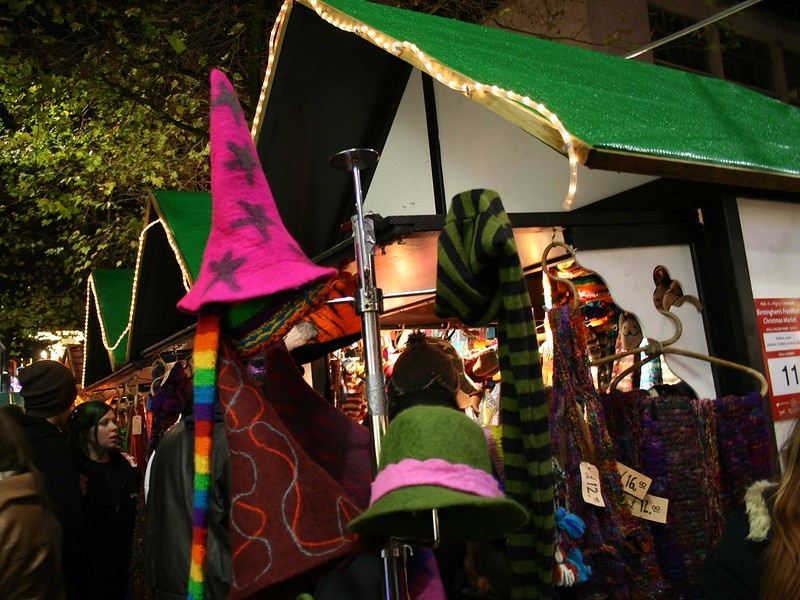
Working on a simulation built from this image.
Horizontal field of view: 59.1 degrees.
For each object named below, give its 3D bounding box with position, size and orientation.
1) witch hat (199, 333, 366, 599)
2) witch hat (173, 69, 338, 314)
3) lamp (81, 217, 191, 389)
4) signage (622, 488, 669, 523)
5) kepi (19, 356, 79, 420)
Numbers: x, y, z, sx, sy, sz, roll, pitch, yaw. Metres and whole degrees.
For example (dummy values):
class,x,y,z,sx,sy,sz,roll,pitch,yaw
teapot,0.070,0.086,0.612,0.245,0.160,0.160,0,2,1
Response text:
class,x,y,z,sx,sy,sz,roll,pitch,yaw
witch hat,-0.395,0.607,2.812,0.555,0.913,0.757,-2,-4,-3
witch hat,-0.618,-0.510,2.730,0.628,0.849,0.577,6,22,29
lamp,-3.532,-0.035,9.379,0.750,1.159,2.584,2,-16,-30
signage,1.124,0.953,3.228,0.232,0.138,0.072,-1,-4,-18
kepi,-2.585,0.651,5.334,0.310,0.402,0.442,1,12,19
